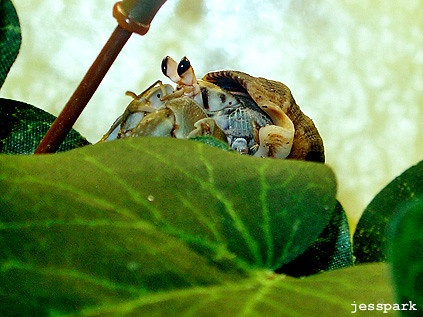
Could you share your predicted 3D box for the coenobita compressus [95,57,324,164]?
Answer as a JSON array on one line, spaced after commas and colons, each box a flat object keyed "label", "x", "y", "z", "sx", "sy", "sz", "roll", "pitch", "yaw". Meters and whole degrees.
[{"label": "coenobita compressus", "x": 0.025, "y": -0.040, "z": 0.846, "sx": 0.248, "sy": 0.120, "sz": 0.173, "roll": 14, "pitch": -4, "yaw": -19}]
